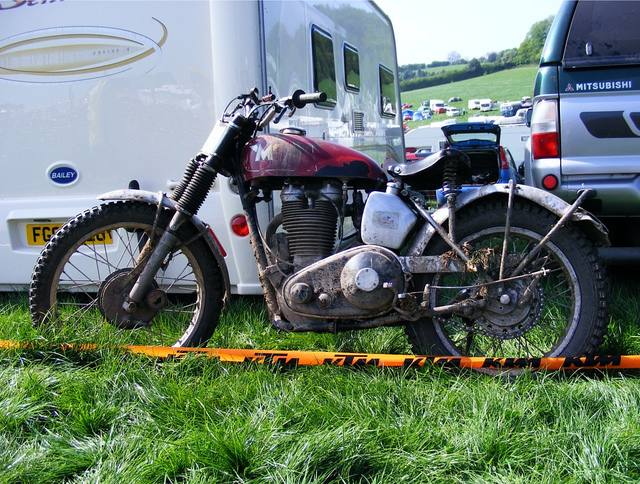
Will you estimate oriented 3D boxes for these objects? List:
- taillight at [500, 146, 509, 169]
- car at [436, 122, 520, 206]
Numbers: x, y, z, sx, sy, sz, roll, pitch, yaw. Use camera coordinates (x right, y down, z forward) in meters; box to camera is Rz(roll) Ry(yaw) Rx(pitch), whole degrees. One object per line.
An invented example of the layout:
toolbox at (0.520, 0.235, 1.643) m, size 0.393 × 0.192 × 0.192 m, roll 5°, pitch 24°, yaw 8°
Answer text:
taillight at (3.229, -1.500, 10.431) m, size 0.083 × 0.364 × 0.211 m, roll 1°, pitch -4°, yaw -4°
car at (2.468, -1.336, 10.813) m, size 1.083 × 1.451 × 2.245 m, roll -4°, pitch 7°, yaw -1°
